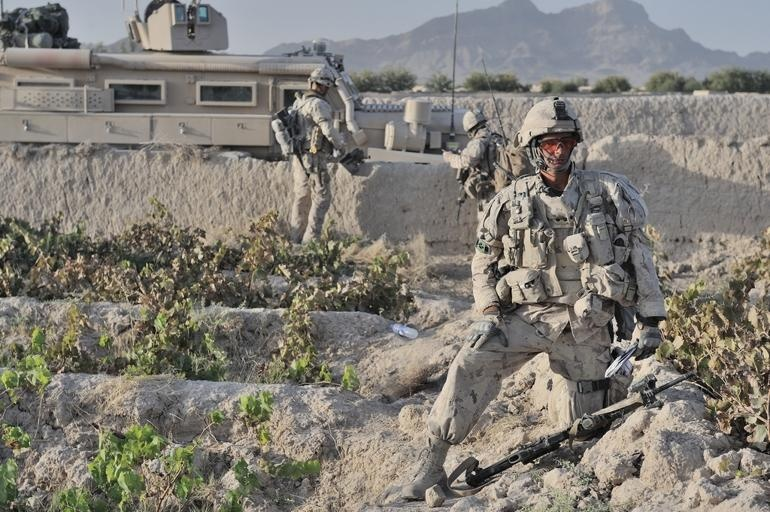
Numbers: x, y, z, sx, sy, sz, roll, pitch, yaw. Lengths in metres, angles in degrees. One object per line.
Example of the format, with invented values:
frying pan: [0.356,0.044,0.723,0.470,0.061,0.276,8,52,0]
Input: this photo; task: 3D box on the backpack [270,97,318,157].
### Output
backpack: [-1.382,-1.909,18.852,0.592,0.866,0.477,-3,4,-4]

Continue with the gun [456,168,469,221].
gun: [1.109,-0.846,18.716,0.133,0.888,0.244,18,25,38]

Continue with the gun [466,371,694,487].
gun: [2.054,1.861,13.414,2.707,0.643,0.467,-27,44,9]

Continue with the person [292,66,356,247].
person: [-0.960,-1.368,19.144,0.975,2.940,1.141,-26,46,-36]

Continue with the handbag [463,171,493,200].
handbag: [1.330,-0.974,18.095,0.391,0.406,0.303,3,-1,-40]

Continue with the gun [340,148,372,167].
gun: [-0.470,-1.491,19.767,0.406,0.267,0.106,-44,-12,0]

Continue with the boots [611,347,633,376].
boots: [2.503,1.126,13.430,0.178,0.335,0.185,9,54,14]

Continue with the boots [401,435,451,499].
boots: [0.432,2.235,13.502,0.559,0.666,0.499,-2,-1,12]
